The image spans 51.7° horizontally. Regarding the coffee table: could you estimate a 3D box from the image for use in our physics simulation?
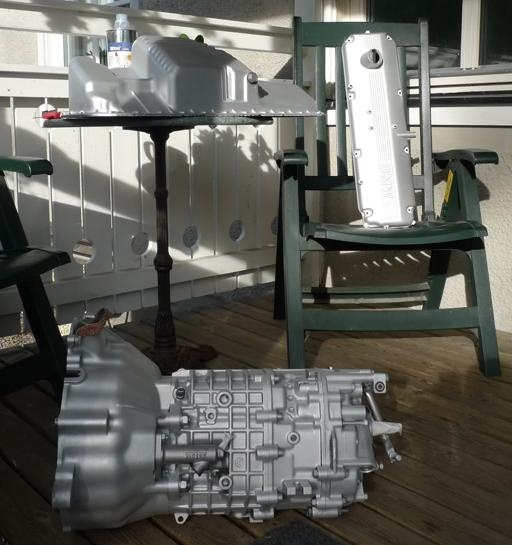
[{"bbox_3d":[-0.205,-0.045,1.423,0.492,0.705,0.611,1,13,5],"label":"coffee table"}]

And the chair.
[{"bbox_3d":[0.448,-0.289,1.681,0.775,1.071,0.822,0,13,1],"label":"chair"}]
